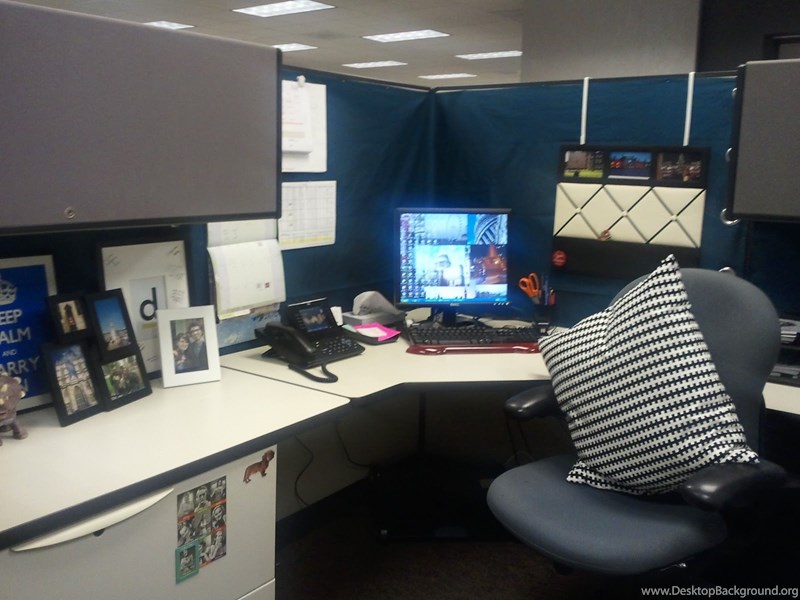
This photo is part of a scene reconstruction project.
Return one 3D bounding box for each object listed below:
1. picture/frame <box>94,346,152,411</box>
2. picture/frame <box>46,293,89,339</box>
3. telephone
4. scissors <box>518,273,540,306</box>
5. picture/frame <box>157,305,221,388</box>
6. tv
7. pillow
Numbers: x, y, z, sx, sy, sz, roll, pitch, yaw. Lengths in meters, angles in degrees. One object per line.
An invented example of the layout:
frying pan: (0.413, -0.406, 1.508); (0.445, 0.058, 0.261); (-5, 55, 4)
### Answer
picture/frame: (-0.777, 0.220, 1.662); (0.015, 0.154, 0.158); (-21, -4, 36)
picture/frame: (-0.904, 0.043, 1.616); (0.013, 0.093, 0.125); (-7, -2, 24)
telephone: (-0.287, 0.104, 2.099); (0.205, 0.165, 0.285); (18, 15, 30)
scissors: (0.544, -0.043, 2.480); (0.029, 0.109, 0.108); (-13, -19, -27)
picture/frame: (-0.649, 0.148, 1.818); (0.231, 0.304, 0.024); (-3, -10, -28)
tv: (0.204, -0.143, 2.411); (0.499, 0.431, 0.051); (0, 4, -9)
pillow: (0.652, 0.259, 1.634); (0.188, 0.615, 0.610); (9, -38, -42)
